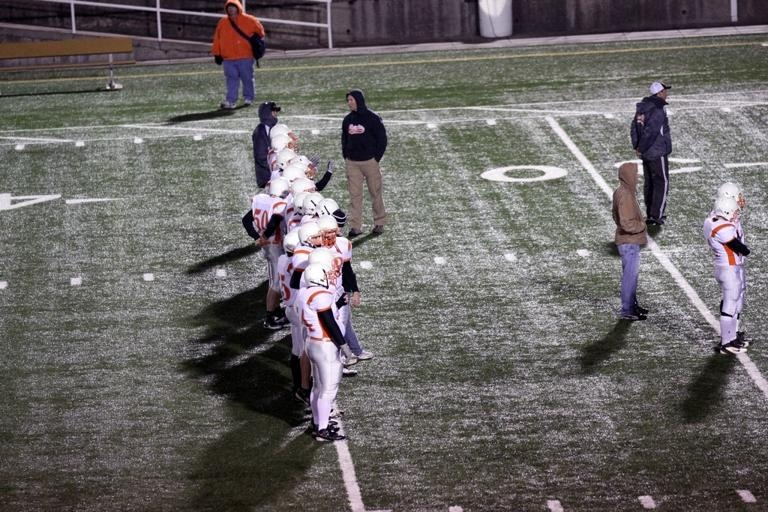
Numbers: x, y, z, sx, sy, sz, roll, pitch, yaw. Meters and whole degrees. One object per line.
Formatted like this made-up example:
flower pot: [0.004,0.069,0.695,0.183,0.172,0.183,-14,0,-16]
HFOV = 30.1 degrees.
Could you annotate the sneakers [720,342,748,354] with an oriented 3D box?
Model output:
sneakers: [5.129,1.337,20.971,0.482,0.161,0.145,-4,17,5]

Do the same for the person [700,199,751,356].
person: [5.047,0.277,20.937,0.608,2.279,0.647,-3,17,11]

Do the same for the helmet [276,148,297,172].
helmet: [-1.552,-1.523,22.351,0.403,0.283,0.299,-6,4,-44]

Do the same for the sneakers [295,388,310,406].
sneakers: [-1.152,2.001,20.367,0.239,0.291,0.090,2,19,26]

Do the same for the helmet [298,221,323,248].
helmet: [-0.989,-0.316,20.049,0.433,0.323,0.300,-5,24,7]

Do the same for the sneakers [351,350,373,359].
sneakers: [-0.317,1.456,21.197,0.343,0.114,0.108,-4,29,-4]

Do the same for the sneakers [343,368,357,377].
sneakers: [-0.490,1.695,20.911,0.278,0.079,0.092,1,15,11]

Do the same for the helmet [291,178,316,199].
helmet: [-1.214,-1.031,21.266,0.384,0.244,0.251,-14,29,13]

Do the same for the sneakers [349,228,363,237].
sneakers: [-0.487,-0.407,24.328,0.217,0.142,0.367,0,0,1]

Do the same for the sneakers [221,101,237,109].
sneakers: [-3.219,-3.143,29.647,0.248,0.092,0.312,-1,4,-12]

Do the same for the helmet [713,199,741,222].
helmet: [5.010,-0.687,20.892,0.379,0.365,0.251,-2,16,10]

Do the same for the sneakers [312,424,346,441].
sneakers: [-0.764,2.452,19.801,0.550,0.169,0.165,0,26,-3]

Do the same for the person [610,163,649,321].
person: [3.748,-0.225,21.711,0.462,2.373,0.651,-4,17,9]
